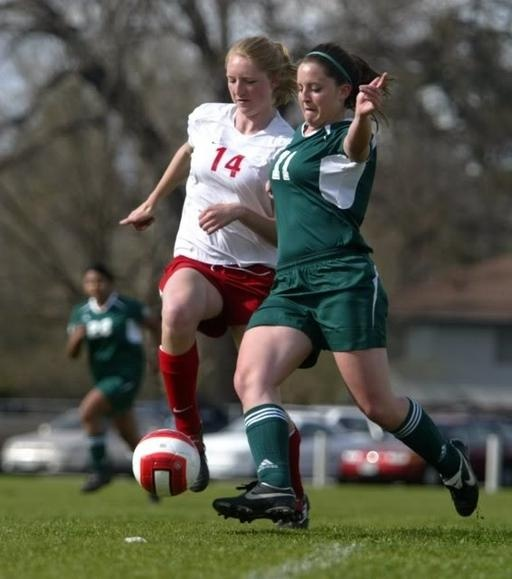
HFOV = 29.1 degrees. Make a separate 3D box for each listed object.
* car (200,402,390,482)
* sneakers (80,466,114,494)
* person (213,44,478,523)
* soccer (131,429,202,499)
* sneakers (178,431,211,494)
[{"bbox_3d":[0.543,2.101,13.706,3.682,0.934,1.393,-2,-2,-21],"label":"car"},{"bbox_3d":[-1.009,1.186,6.153,0.208,0.143,0.165,-4,2,4],"label":"sneakers"},{"bbox_3d":[0.286,-0.017,3.711,1.077,1.331,0.549,-5,2,-11],"label":"person"},{"bbox_3d":[-0.370,0.712,4.015,0.326,0.259,0.340,1,-9,-1],"label":"soccer"},{"bbox_3d":[-0.259,0.732,4.171,0.111,0.261,0.127,-4,13,-4],"label":"sneakers"}]
